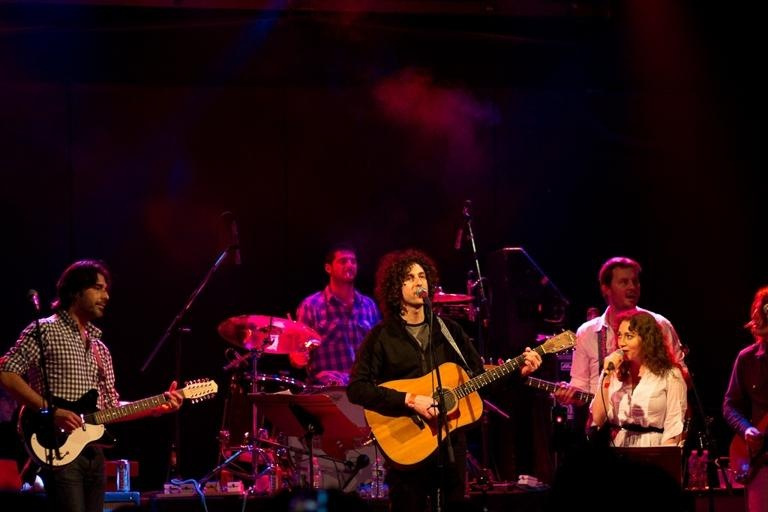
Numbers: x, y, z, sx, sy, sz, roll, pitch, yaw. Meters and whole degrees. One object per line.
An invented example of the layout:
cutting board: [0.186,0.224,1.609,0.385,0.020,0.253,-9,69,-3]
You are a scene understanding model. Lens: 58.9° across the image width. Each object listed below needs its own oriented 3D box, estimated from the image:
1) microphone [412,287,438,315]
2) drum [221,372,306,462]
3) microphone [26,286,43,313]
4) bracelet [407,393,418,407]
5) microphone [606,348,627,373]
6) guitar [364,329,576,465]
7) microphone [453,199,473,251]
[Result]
microphone: [0.364,0.410,6.319,0.138,0.283,0.181,-20,-27,19]
drum: [-1.588,2.100,9.091,1.117,1.045,1.107,4,-10,-17]
microphone: [-4.031,0.512,7.816,0.102,0.344,0.097,-23,-4,-5]
bracelet: [0.250,1.292,6.123,0.074,0.100,0.026,4,-50,-2]
microphone: [2.230,0.988,6.530,0.135,0.101,0.263,20,38,23]
guitar: [0.822,1.308,6.516,1.968,0.779,0.270,-26,-9,-12]
microphone: [1.095,-0.426,9.506,0.163,0.748,0.229,24,21,27]
